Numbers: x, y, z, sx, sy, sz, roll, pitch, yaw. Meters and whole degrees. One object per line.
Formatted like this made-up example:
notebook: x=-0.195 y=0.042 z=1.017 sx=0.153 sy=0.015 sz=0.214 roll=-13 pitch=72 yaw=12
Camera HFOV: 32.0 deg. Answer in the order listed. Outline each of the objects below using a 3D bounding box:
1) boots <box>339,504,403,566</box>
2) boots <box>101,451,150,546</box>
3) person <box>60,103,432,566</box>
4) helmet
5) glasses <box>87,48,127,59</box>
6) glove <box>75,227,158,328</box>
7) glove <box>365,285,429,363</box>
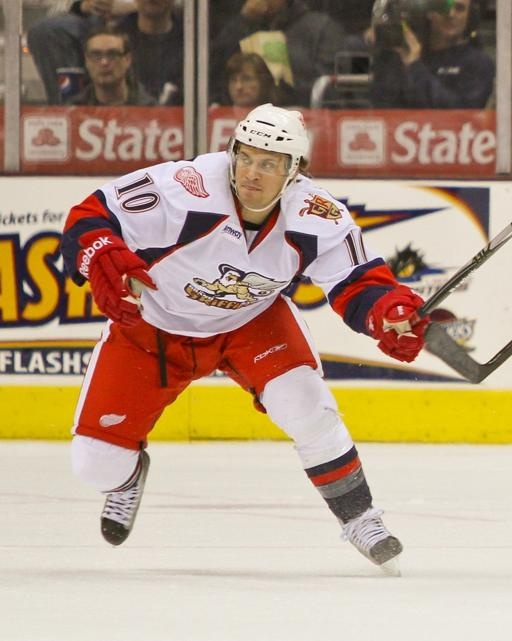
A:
boots: x=0.319 y=0.611 z=2.627 sx=0.186 sy=0.110 sz=0.366 roll=-9 pitch=-4 yaw=2
boots: x=-0.400 y=0.539 z=2.795 sx=0.122 sy=0.301 sz=0.136 roll=22 pitch=-12 yaw=-4
person: x=-0.031 y=0.038 z=2.607 sx=1.044 sy=1.300 sz=0.576 roll=0 pitch=19 yaw=8
helmet: x=0.072 y=-0.541 z=2.537 sx=0.180 sy=0.156 sz=0.187 roll=17 pitch=20 yaw=8
glasses: x=-0.704 y=-1.250 z=4.202 sx=0.097 sy=0.023 sz=0.084 roll=-1 pitch=2 yaw=2
glove: x=-0.365 y=-0.116 z=2.369 sx=0.120 sy=0.183 sz=0.237 roll=-32 pitch=53 yaw=1
glove: x=0.376 y=0.017 z=2.387 sx=0.112 sy=0.144 sz=0.203 roll=-3 pitch=36 yaw=-27
